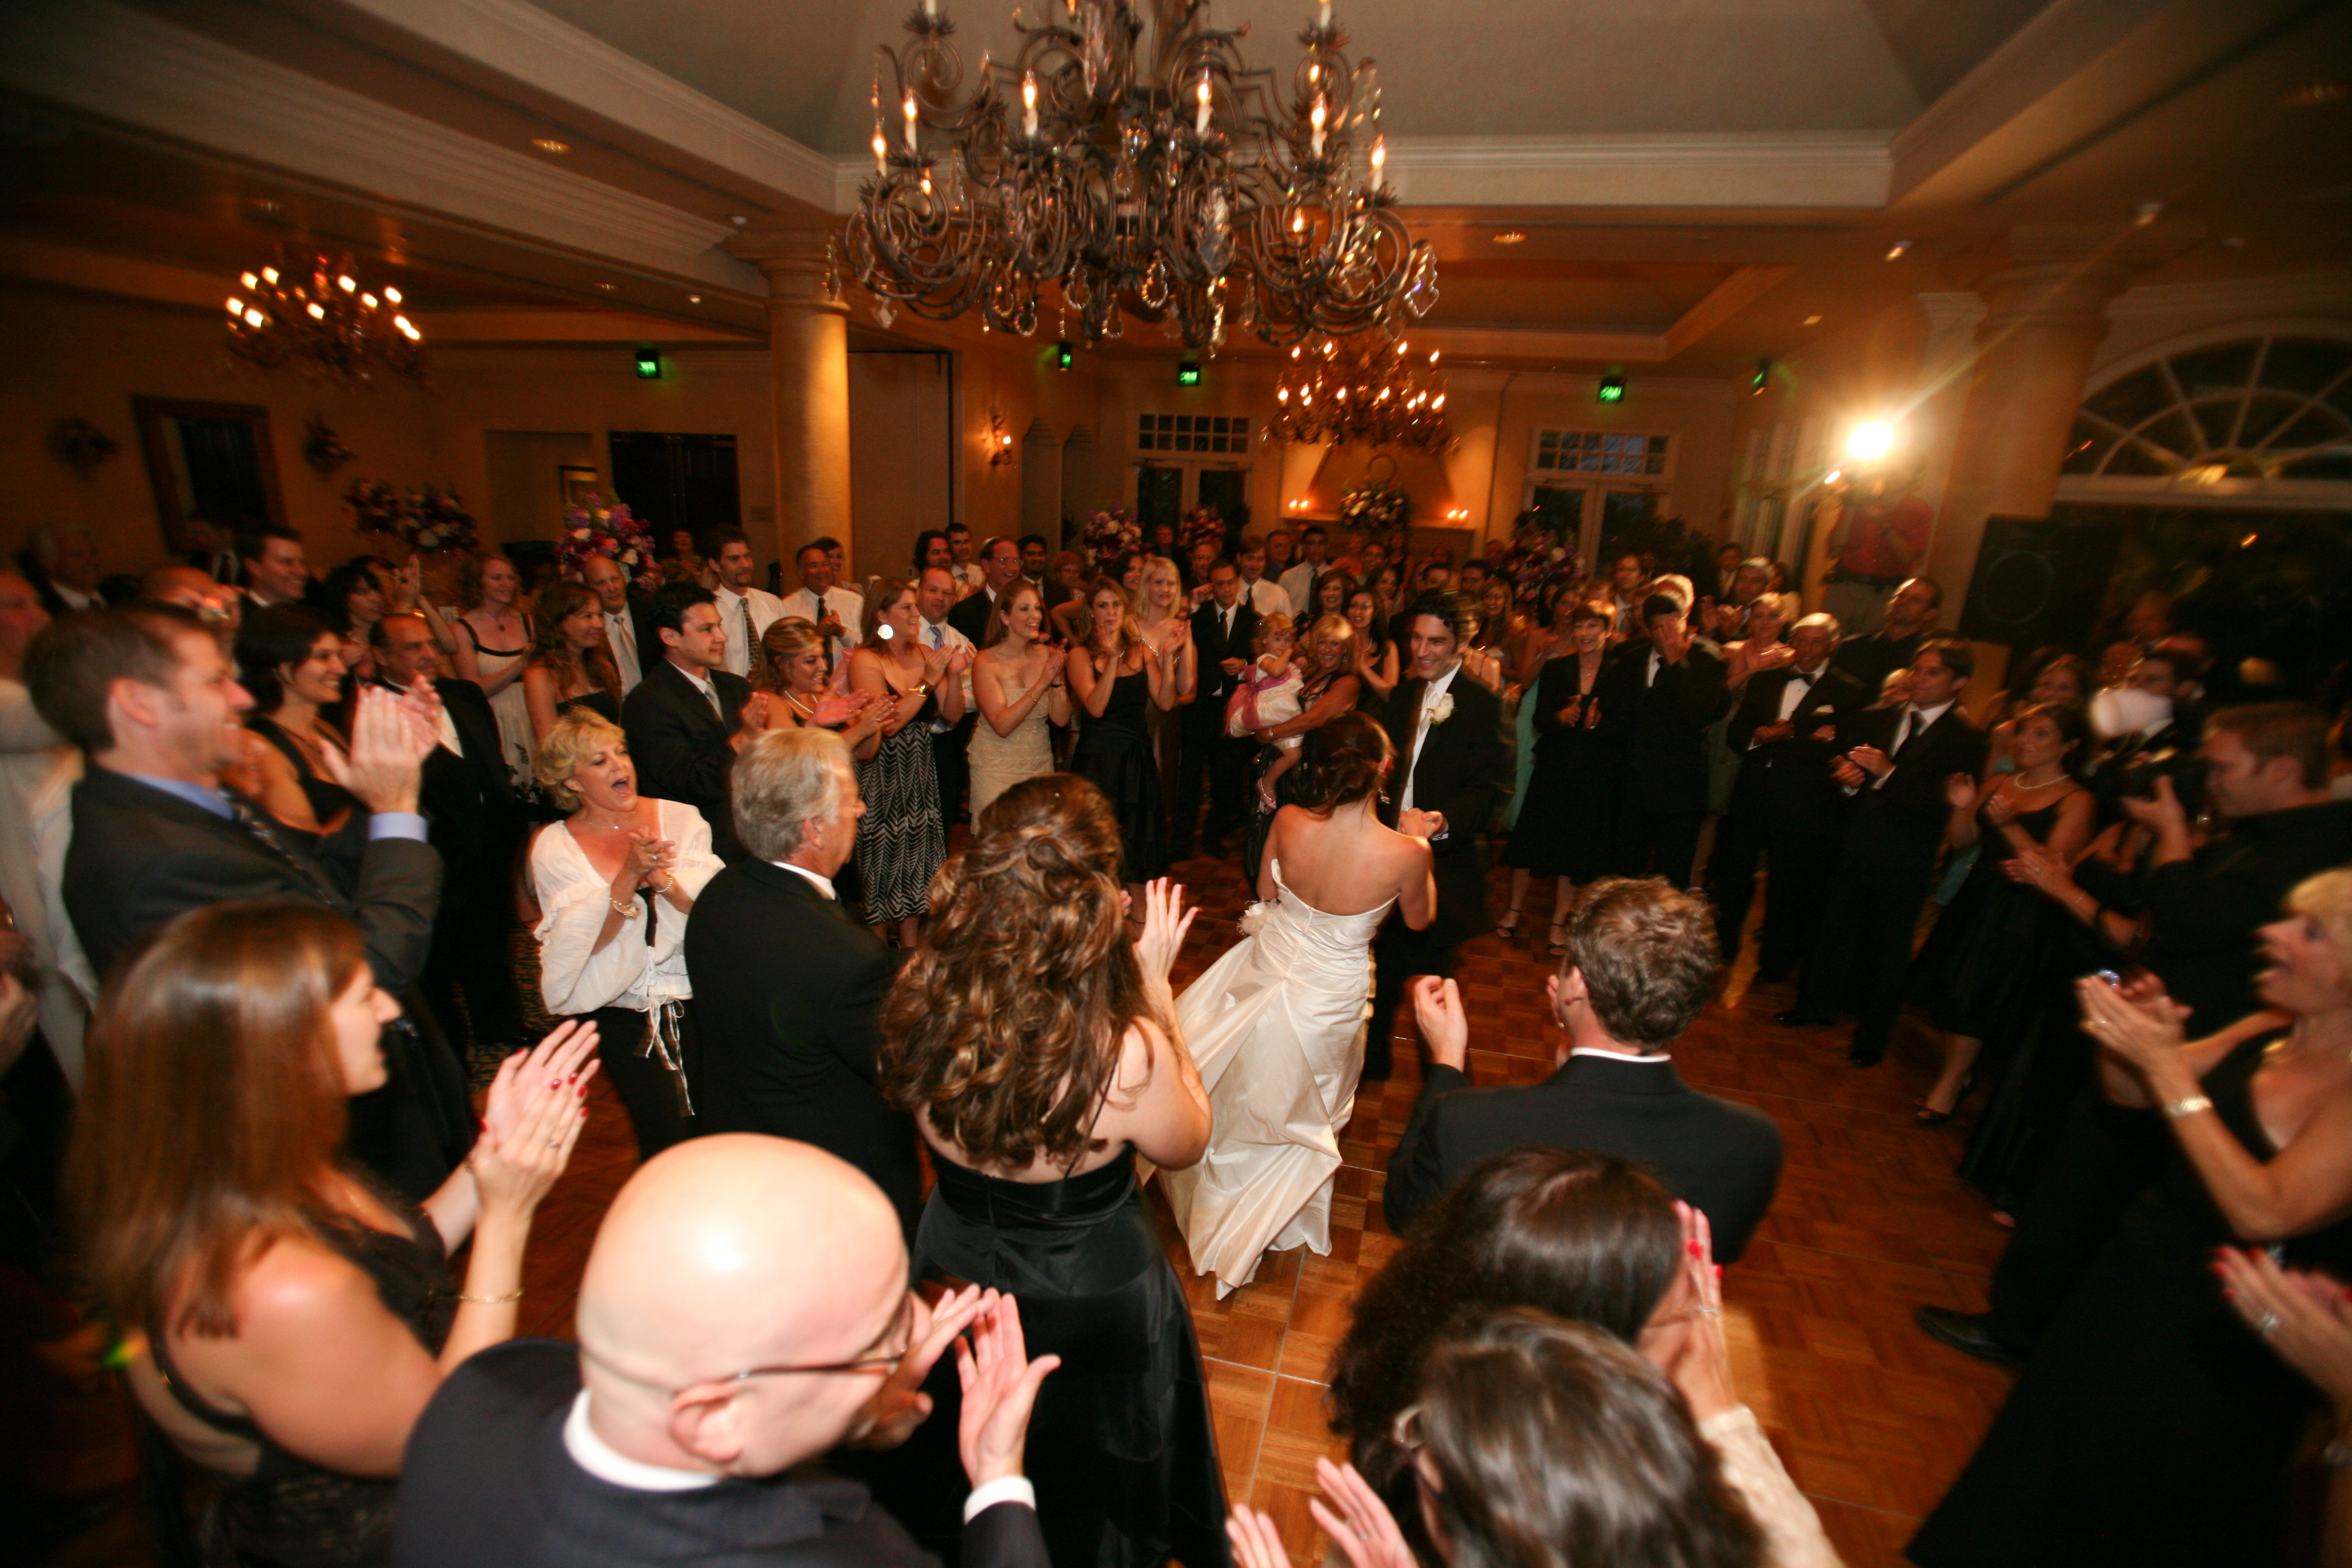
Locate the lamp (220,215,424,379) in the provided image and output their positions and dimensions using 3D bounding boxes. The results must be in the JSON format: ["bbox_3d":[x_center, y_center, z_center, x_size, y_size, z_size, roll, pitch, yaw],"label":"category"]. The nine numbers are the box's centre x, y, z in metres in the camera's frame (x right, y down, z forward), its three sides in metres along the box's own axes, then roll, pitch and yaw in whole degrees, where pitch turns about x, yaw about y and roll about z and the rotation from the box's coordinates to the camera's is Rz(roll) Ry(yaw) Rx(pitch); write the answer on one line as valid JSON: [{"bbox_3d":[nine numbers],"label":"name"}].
[{"bbox_3d":[-4.828,-2.693,8.673,0.903,0.724,1.242,-2,16,-31],"label":"lamp"}]

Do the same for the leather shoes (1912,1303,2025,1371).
[{"bbox_3d":[2.943,2.053,5.740,0.134,0.164,0.391,-14,21,-31],"label":"leather shoes"}]

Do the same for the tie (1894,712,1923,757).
[{"bbox_3d":[3.278,-0.227,6.902,0.042,0.180,0.095,16,0,-13],"label":"tie"}]
